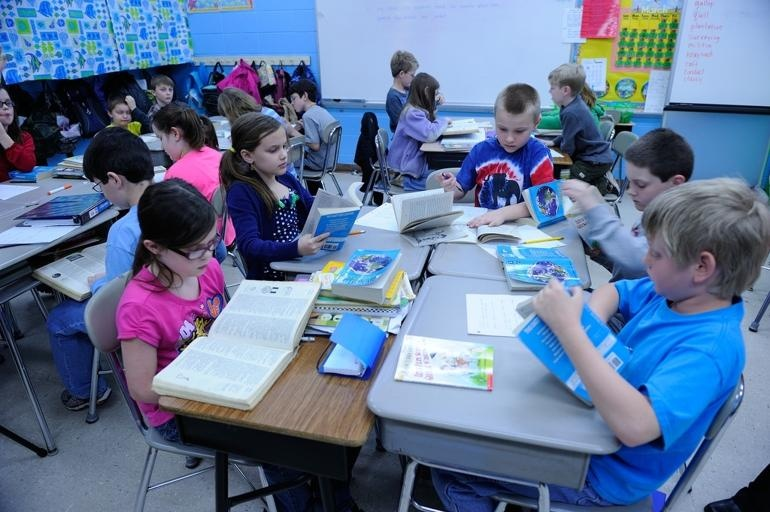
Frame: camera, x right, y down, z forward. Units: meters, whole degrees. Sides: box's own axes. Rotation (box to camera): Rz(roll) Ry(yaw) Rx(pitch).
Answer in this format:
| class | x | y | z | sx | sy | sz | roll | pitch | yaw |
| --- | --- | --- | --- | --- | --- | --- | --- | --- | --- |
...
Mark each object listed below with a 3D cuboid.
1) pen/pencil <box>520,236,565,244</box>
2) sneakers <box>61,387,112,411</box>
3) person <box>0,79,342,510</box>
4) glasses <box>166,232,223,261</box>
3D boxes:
| class | x | y | z | sx | sy | sz | roll | pitch | yaw |
| --- | --- | --- | --- | --- | --- | --- | --- | --- | --- |
| pen/pencil | 0.754 | -0.077 | 2.276 | 0.188 | 0.020 | 0.020 | -4 | 12 | -7 |
| sneakers | -1.694 | 0.819 | 2.723 | 0.236 | 0.114 | 0.128 | 5 | 34 | -18 |
| person | -1.361 | 0.127 | 2.435 | 0.935 | 1.470 | 0.600 | 10 | 27 | 27 |
| glasses | -0.715 | -0.038 | 1.762 | 0.128 | 0.038 | 0.125 | 7 | 31 | 9 |
